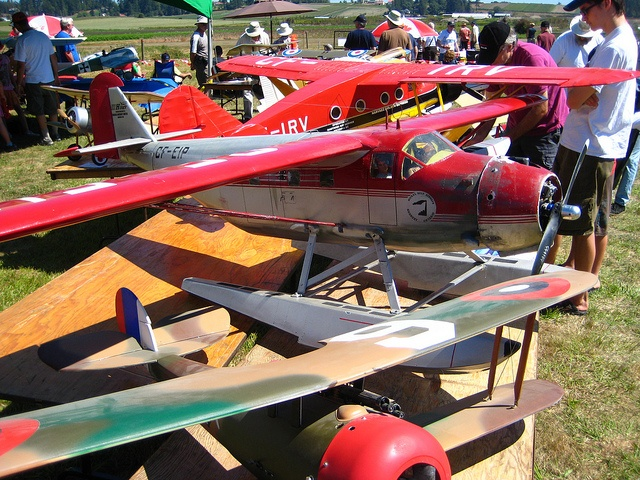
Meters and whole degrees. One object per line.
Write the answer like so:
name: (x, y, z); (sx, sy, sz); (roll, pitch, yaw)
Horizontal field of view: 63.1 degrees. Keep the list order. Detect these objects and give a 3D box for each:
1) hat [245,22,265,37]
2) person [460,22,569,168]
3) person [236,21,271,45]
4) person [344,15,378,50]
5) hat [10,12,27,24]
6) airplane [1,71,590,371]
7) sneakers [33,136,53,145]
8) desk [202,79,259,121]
hat: (-1.886, -6.182, 15.528); (0.631, 0.232, 0.604); (10, 49, 9)
person: (2.545, -1.433, 6.753); (1.099, 2.463, 1.003); (8, 27, 29)
person: (-1.938, -6.154, 15.711); (0.872, 0.503, 1.070); (-6, 32, -5)
person: (1.187, -5.906, 14.847); (0.889, 0.926, 1.538); (2, 23, 2)
hat: (-6.607, -4.868, 11.478); (0.294, 0.232, 0.560); (-11, 25, -25)
airplane: (0.258, -0.242, 4.899); (3.251, 1.290, 3.521); (13, 32, 27)
sneakers: (-6.537, -2.365, 12.356); (0.411, 0.159, 0.134); (9, 44, 17)
desk: (-2.163, -3.571, 12.540); (1.491, 1.134, 1.320); (3, 21, 5)
